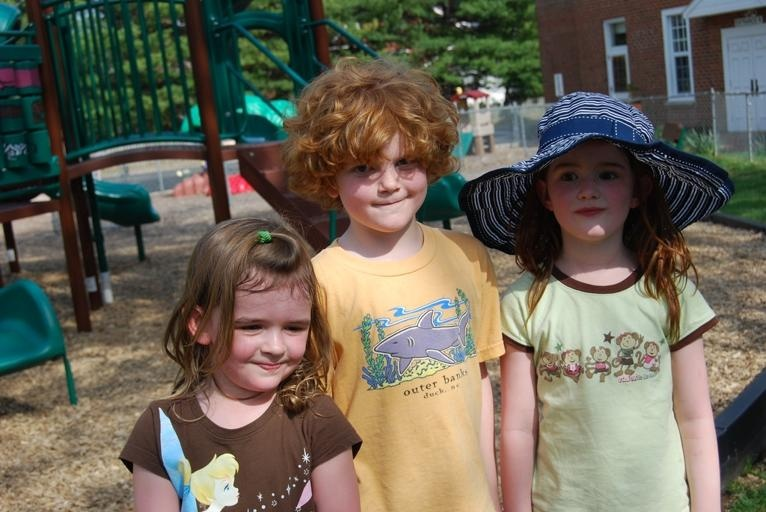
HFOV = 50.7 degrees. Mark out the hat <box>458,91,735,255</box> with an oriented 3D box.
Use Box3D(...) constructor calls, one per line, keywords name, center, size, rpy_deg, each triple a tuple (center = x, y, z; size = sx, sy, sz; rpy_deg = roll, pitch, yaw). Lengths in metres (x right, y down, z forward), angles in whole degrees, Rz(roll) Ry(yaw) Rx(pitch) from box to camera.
Box3D(name="hat", center=(0.961, -0.450, 3.900), size=(1.189, 0.619, 1.234), rpy_deg=(-2, -18, -5))
